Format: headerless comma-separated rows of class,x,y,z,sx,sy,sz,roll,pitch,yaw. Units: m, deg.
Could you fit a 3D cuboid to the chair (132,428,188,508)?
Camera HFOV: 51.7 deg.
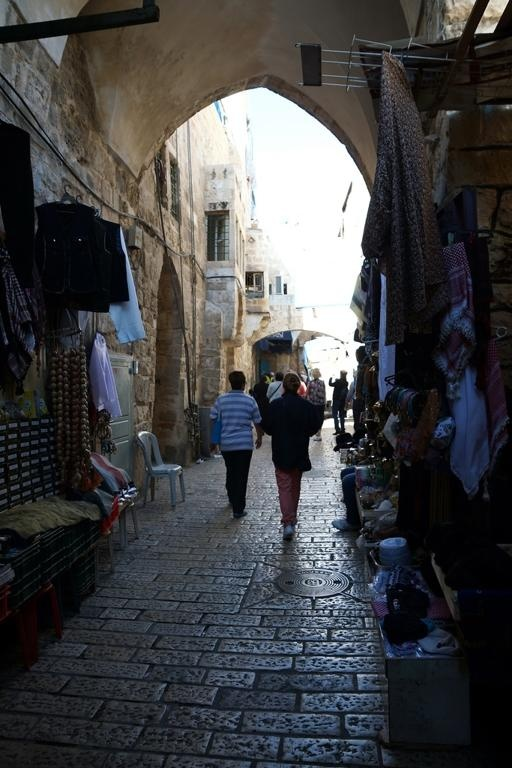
chair,-1.167,1.024,6.444,0.519,0.912,0.520,-1,1,26

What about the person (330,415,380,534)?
person,0.921,0.868,5.033,0.415,1.044,1.122,-2,-3,12

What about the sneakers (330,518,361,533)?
sneakers,0.842,1.326,5.039,0.246,0.124,0.099,8,1,12

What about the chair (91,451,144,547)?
chair,-1.108,0.861,3.946,0.335,0.695,0.451,-2,-1,2

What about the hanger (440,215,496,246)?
hanger,0.956,-0.704,2.406,0.121,0.152,0.235,-2,16,-17

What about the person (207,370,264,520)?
person,-0.216,0.630,5.784,0.526,1.629,1.026,-1,-3,0

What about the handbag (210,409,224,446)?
handbag,-0.433,0.478,5.674,0.106,0.329,0.296,-1,-3,1

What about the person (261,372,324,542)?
person,0.327,0.652,5.037,0.477,1.522,0.452,1,-4,-34
